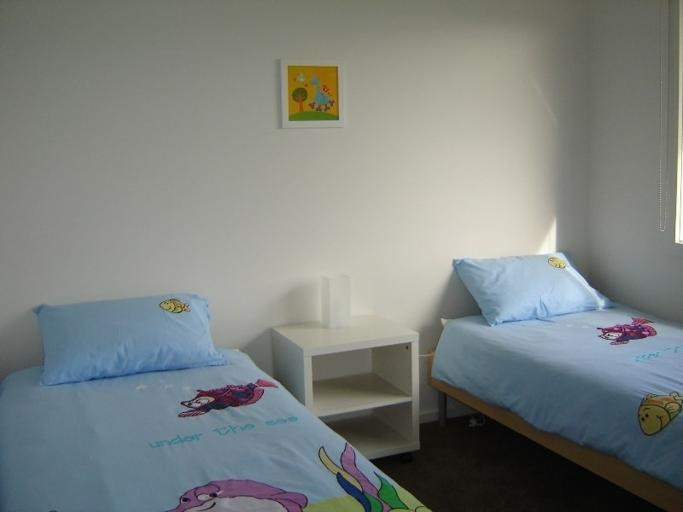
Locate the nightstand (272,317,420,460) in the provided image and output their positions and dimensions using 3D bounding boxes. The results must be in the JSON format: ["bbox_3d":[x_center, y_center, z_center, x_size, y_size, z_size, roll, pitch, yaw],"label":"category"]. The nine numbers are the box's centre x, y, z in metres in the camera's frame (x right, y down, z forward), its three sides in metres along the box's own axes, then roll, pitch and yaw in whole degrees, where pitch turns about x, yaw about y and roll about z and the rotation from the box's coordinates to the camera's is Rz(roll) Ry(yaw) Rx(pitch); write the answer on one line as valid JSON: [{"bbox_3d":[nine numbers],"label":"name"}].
[{"bbox_3d":[0.066,0.602,3.193,0.939,0.950,0.722,-3,4,-26],"label":"nightstand"}]

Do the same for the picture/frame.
[{"bbox_3d":[-0.188,-0.987,3.075,0.401,0.417,0.031,-2,6,-16],"label":"picture/frame"}]
